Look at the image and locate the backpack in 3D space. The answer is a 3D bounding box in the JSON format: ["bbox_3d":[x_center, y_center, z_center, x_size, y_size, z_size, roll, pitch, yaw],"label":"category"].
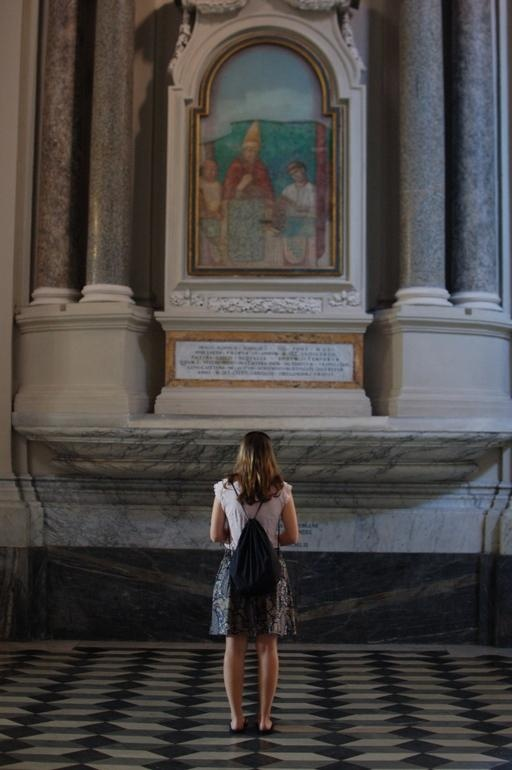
[{"bbox_3d":[0.003,0.648,5.772,0.157,0.463,0.178,-13,-3,22],"label":"backpack"}]
